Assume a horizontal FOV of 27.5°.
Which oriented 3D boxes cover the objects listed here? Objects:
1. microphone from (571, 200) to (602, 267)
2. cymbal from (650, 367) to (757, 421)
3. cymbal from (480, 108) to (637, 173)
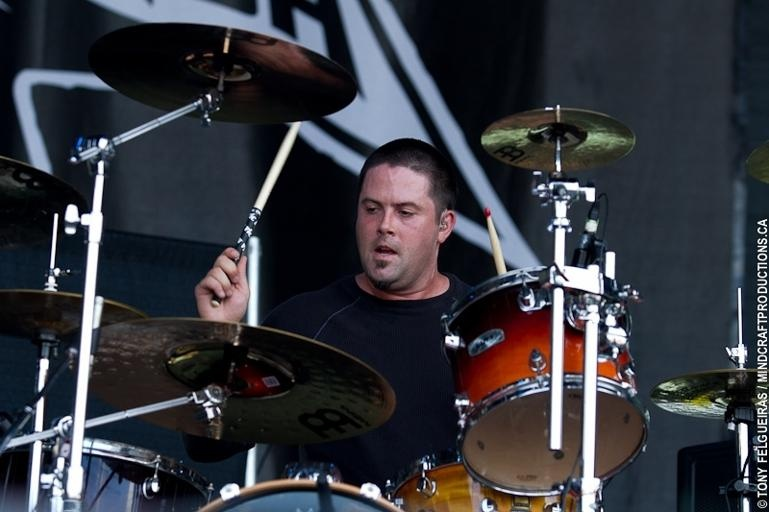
[{"bbox_3d":[0.939,-0.101,7.196,0.104,0.303,0.188,13,-10,5],"label":"microphone"},{"bbox_3d":[1.697,0.704,8.167,0.384,0.080,0.373,-8,-30,30],"label":"cymbal"},{"bbox_3d":[0.862,-0.568,7.812,0.743,0.152,0.515,1,-16,2],"label":"cymbal"}]
